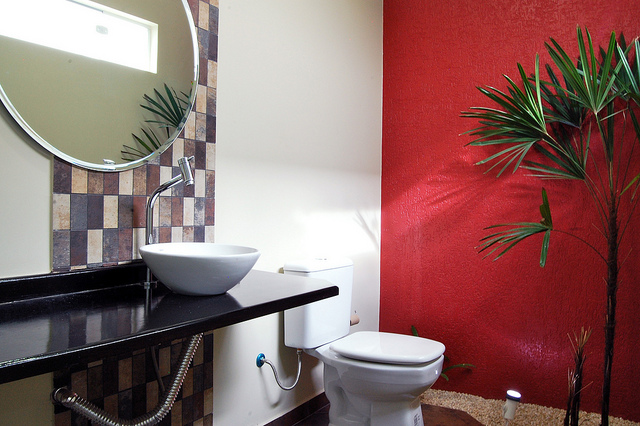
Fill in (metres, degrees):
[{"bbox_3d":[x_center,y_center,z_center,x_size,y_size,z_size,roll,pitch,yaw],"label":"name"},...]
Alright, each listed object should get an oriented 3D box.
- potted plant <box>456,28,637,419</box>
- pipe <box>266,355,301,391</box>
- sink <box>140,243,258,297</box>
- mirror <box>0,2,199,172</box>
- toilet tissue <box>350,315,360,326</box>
[{"bbox_3d":[1.429,0.035,2.885,0.972,2.536,0.685,3,4,34],"label":"potted plant"},{"bbox_3d":[-0.230,0.986,2.766,0.023,0.206,0.280,-5,-3,26],"label":"pipe"},{"bbox_3d":[-0.538,0.267,2.087,0.527,0.212,0.533,1,2,-27],"label":"sink"},{"bbox_3d":[-1.017,-0.574,2.025,0.047,0.989,0.860,6,6,44],"label":"mirror"},{"bbox_3d":[0.235,0.729,3.053,0.054,0.063,0.072,-3,-2,44],"label":"toilet tissue"}]
